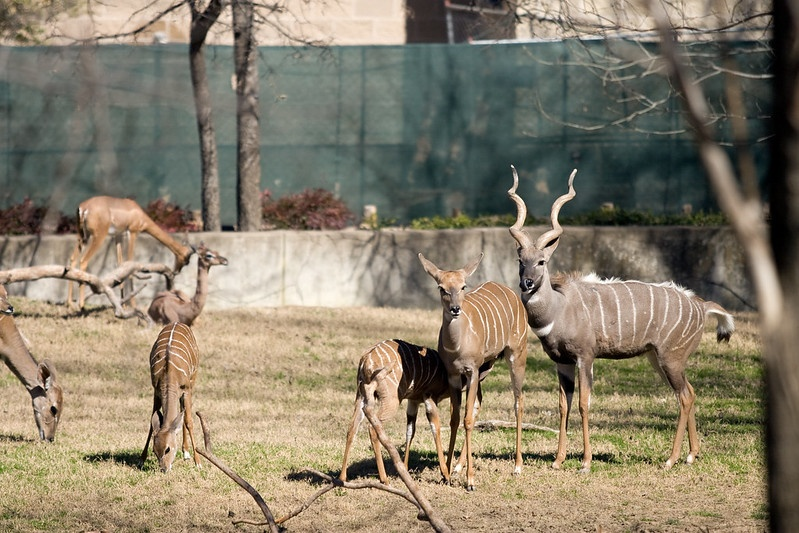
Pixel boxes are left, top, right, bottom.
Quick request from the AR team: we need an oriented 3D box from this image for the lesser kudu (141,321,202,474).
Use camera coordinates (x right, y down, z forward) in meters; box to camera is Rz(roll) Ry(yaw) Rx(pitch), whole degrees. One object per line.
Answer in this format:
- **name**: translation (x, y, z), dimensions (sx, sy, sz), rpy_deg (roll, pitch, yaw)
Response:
- **lesser kudu**: translation (-4.223, 2.365, 33.221), dimensions (0.809, 2.238, 3.419), rpy_deg (1, 30, -2)
